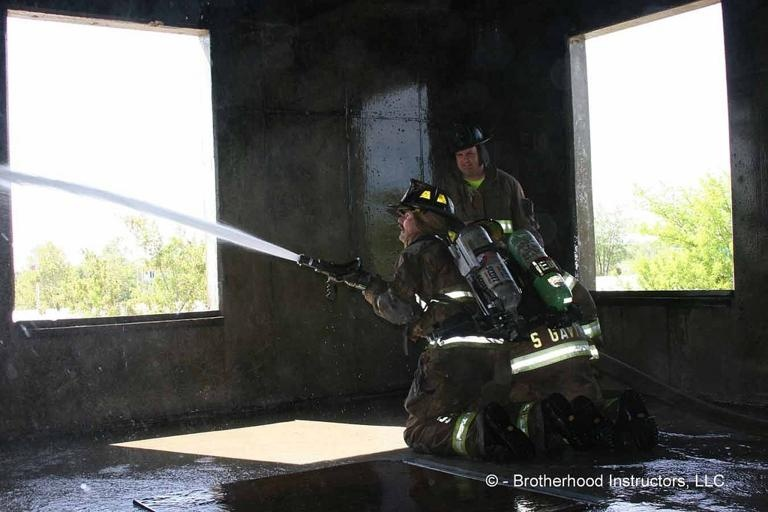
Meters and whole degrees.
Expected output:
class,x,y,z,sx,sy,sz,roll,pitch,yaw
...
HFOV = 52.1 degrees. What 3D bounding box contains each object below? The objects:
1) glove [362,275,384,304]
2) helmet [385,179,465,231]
class,x,y,z,sx,sy,sz,roll,pitch,yaw
glove,-0.078,0.279,6.555,0.196,0.237,0.105,-3,6,-1
helmet,0.372,-0.460,6.823,0.689,0.307,0.525,14,-13,6
